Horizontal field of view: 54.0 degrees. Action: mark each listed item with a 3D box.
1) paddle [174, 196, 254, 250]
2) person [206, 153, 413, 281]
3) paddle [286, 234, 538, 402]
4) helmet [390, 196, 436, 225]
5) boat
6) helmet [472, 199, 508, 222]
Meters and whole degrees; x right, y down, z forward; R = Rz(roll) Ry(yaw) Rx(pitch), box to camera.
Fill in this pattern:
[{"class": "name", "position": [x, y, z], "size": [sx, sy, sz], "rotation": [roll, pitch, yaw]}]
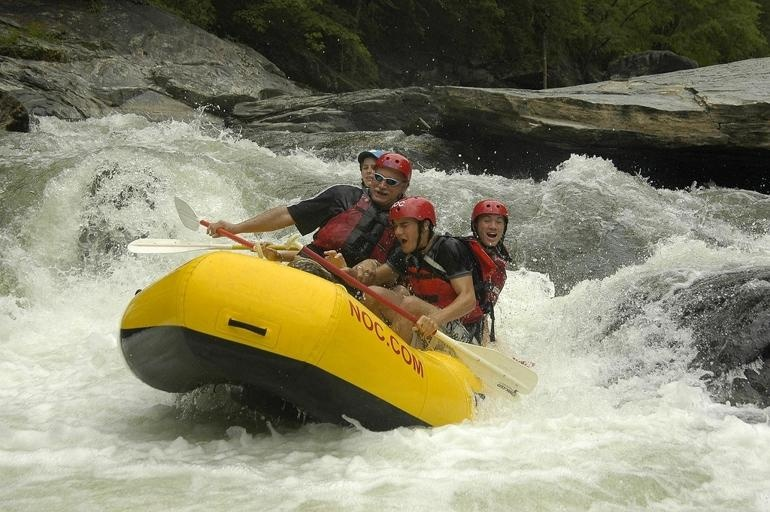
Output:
[{"class": "paddle", "position": [-2.101, -0.392, 9.143], "size": [1.328, 0.321, 0.197], "rotation": [24, -21, 6]}, {"class": "person", "position": [-0.925, -0.432, 8.801], "size": [1.503, 1.243, 0.489], "rotation": [-28, 4, -11]}, {"class": "paddle", "position": [0.202, 0.641, 7.652], "size": [2.830, 0.390, 0.202], "rotation": [33, -30, -6]}, {"class": "helmet", "position": [0.309, -0.484, 7.953], "size": [0.377, 0.228, 0.282], "rotation": [-3, 8, -33]}, {"class": "boat", "position": [-0.742, 0.923, 7.070], "size": [2.518, 0.839, 1.616], "rotation": [35, -11, -31]}, {"class": "helmet", "position": [1.227, -0.556, 8.828], "size": [0.256, 0.316, 0.237], "rotation": [-2, 3, 7]}]
